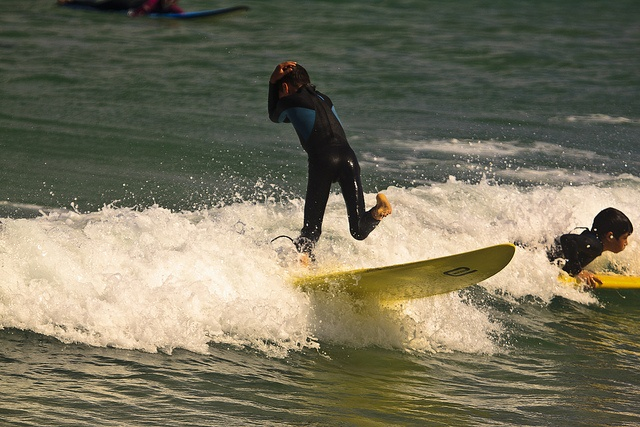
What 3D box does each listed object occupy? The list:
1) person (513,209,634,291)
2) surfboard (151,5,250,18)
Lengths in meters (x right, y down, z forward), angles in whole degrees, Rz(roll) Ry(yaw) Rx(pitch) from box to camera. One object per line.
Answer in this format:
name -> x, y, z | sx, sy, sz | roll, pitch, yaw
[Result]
person -> 4.635, 0.567, 18.576 | 1.277, 1.061, 1.078 | -31, 54, -21
surfboard -> -2.968, -4.905, 26.776 | 3.503, 0.306, 0.212 | -2, 59, -5
